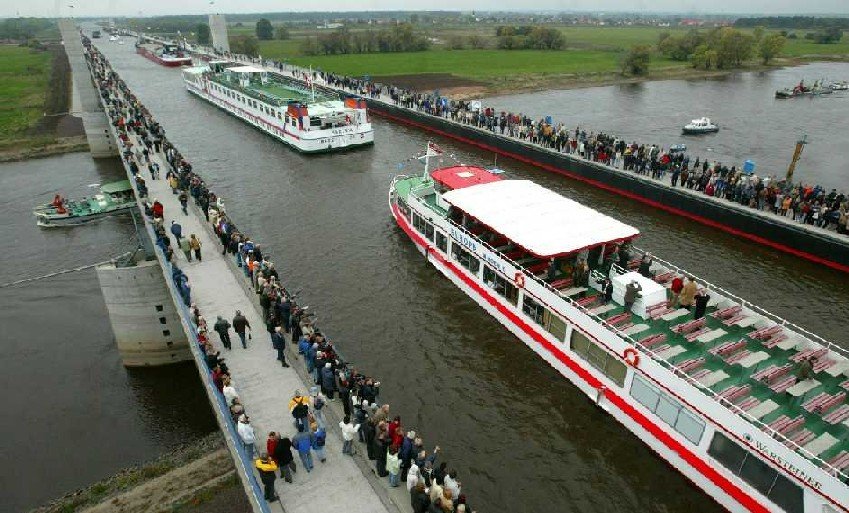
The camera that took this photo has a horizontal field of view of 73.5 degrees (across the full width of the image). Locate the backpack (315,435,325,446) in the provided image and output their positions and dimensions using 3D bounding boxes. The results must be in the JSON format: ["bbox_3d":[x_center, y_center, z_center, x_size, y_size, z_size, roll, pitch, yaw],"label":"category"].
[{"bbox_3d":[-6.207,10.791,33.463,0.787,0.607,0.408,5,29,0],"label":"backpack"}]

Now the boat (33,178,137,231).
[{"bbox_3d":[-38.459,-5.733,64.415,10.775,3.547,4.496,-18,59,-29],"label":"boat"}]

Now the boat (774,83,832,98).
[{"bbox_3d":[67.193,-29.507,101.137,7.075,1.494,2.237,-7,37,-5],"label":"boat"}]
